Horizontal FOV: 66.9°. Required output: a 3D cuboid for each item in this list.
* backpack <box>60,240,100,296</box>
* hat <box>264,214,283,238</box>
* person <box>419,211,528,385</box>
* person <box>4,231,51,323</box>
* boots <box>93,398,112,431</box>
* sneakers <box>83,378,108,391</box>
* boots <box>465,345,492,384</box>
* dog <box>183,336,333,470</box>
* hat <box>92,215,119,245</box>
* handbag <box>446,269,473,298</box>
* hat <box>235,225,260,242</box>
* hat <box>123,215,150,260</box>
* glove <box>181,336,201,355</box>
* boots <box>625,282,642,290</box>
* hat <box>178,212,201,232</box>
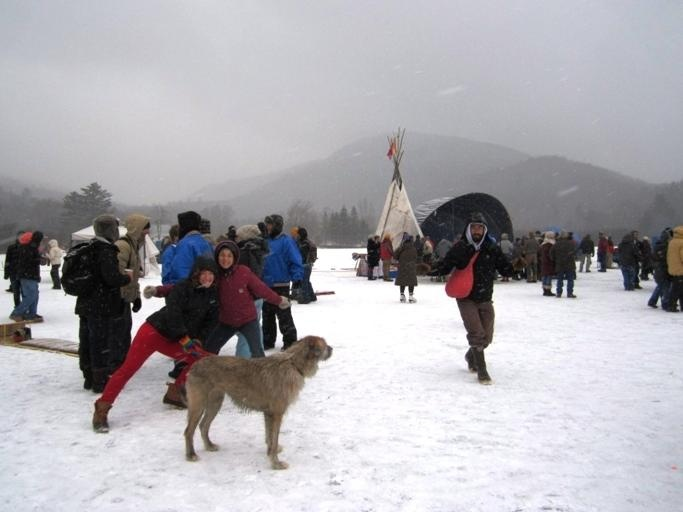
[{"bbox_3d":[-3.354,0.042,6.666,0.423,0.788,0.563,-3,35,-33],"label":"backpack"},{"bbox_3d":[-1.195,-0.541,9.299,0.361,0.486,0.355,3,-2,-8],"label":"hat"},{"bbox_3d":[1.949,0.549,7.892,0.970,2.270,1.016,5,8,38],"label":"person"},{"bbox_3d":[-6.931,0.514,11.411,0.569,2.073,0.712,-2,7,-14],"label":"person"},{"bbox_3d":[-2.726,1.784,5.857,0.202,0.348,0.299,-4,8,-27],"label":"boots"},{"bbox_3d":[-3.310,1.732,6.877,0.194,0.115,0.325,6,-12,-29],"label":"sneakers"},{"bbox_3d":[2.031,1.554,7.598,0.272,0.465,0.683,0,7,1],"label":"boots"},{"bbox_3d":[-0.906,1.471,5.346,1.376,1.226,0.521,1,7,8],"label":"dog"},{"bbox_3d":[-3.058,-0.336,6.735,0.298,0.416,0.384,4,7,11],"label":"hat"},{"bbox_3d":[1.767,0.415,7.741,0.403,0.474,0.352,2,7,14],"label":"handbag"},{"bbox_3d":[-1.512,-0.374,8.342,0.326,0.270,0.240,4,-4,-21],"label":"hat"},{"bbox_3d":[-2.833,-0.280,7.205,0.410,0.567,0.383,-5,-16,4],"label":"hat"},{"bbox_3d":[-1.727,0.982,5.930,0.158,0.235,0.099,5,28,25],"label":"glove"},{"bbox_3d":[9.414,0.977,16.738,0.603,0.328,0.181,-7,9,-38],"label":"boots"},{"bbox_3d":[-2.163,-0.486,7.389,0.284,0.303,0.318,1,4,-8],"label":"hat"}]
